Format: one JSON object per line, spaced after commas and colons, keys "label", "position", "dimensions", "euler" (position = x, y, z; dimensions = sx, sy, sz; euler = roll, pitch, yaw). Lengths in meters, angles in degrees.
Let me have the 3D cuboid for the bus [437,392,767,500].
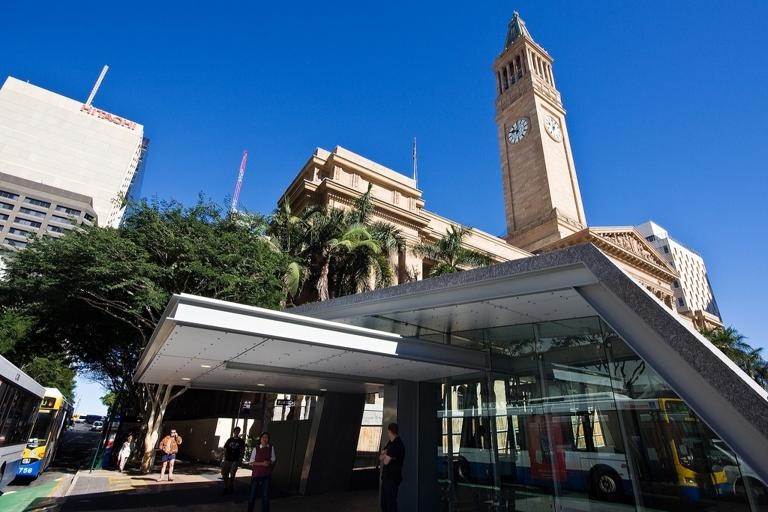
{"label": "bus", "position": [4.490, 4.391, 9.469], "dimensions": [1.973, 1.701, 5.990], "euler": [21, -33, -31]}
